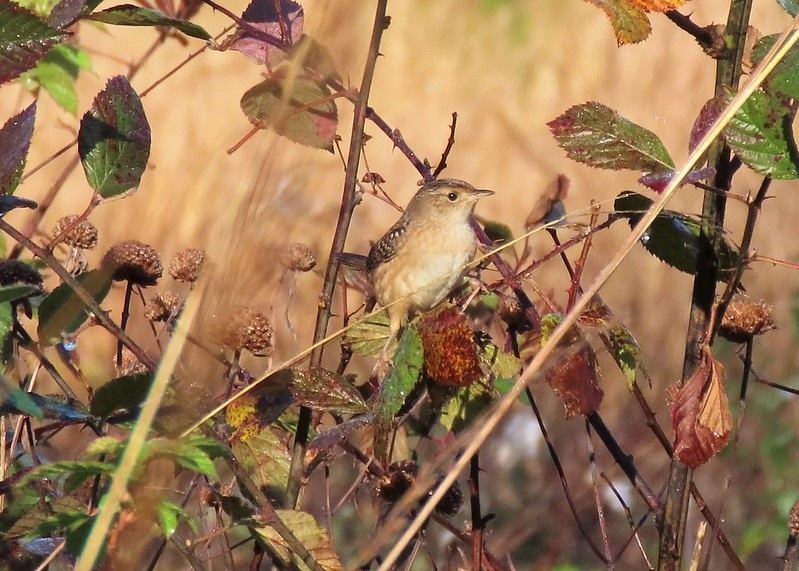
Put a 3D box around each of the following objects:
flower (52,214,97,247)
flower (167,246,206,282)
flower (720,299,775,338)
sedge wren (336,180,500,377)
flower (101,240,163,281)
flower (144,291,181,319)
[{"bbox_3d":[-1.237,-0.203,4.132,0.169,0.127,0.186,1,-14,-5],"label":"flower"},{"bbox_3d":[-0.816,-0.084,4.139,0.107,0.162,0.241,9,-12,-15],"label":"flower"},{"bbox_3d":[1.327,0.121,4.119,0.195,0.120,0.219,19,7,12],"label":"flower"},{"bbox_3d":[0.013,-0.072,4.973,0.409,0.880,0.919,3,3,-39],"label":"sedge wren"},{"bbox_3d":[-0.995,-0.082,4.066,0.164,0.150,0.149,5,7,-38],"label":"flower"},{"bbox_3d":[-0.920,0.082,4.228,0.126,0.108,0.190,-3,-2,4],"label":"flower"}]
